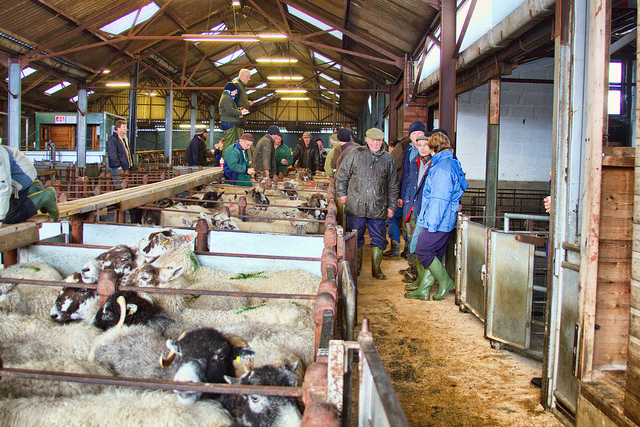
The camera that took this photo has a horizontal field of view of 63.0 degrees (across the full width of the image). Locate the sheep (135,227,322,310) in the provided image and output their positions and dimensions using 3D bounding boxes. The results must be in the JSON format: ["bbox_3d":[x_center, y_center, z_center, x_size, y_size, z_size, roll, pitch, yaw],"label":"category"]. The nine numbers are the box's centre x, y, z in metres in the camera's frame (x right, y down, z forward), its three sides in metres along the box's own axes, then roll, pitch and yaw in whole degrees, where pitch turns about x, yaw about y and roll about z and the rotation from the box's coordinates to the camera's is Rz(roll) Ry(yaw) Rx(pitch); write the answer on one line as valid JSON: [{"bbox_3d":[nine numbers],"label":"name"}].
[{"bbox_3d":[-0.980,0.589,6.204,2.081,1.431,0.848,4,-7,6],"label":"sheep"}]

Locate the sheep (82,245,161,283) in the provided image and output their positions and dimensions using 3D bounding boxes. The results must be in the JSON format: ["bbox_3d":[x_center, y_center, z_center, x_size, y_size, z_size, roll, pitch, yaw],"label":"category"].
[{"bbox_3d":[-2.006,0.533,5.393,0.865,0.402,0.518,-3,9,-41],"label":"sheep"}]

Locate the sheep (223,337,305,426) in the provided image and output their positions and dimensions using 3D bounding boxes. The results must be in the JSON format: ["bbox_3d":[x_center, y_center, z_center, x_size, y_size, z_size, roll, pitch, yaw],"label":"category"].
[{"bbox_3d":[-0.408,1.269,3.796,0.330,0.537,0.724,-3,0,-11],"label":"sheep"}]

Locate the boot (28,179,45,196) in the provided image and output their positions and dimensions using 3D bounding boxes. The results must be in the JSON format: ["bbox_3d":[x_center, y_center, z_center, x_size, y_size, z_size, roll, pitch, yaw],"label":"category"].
[{"bbox_3d":[-3.407,-0.301,6.240,0.134,0.134,0.073,35,-25,9],"label":"boot"}]

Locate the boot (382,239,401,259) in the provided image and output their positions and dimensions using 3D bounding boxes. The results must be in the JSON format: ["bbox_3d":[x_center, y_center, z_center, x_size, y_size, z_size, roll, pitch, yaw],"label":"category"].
[{"bbox_3d":[1.323,0.622,9.687,0.334,0.370,0.391,0,14,7],"label":"boot"}]

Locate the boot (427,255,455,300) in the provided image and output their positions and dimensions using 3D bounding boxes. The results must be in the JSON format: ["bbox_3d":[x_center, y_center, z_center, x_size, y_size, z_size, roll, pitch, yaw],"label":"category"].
[{"bbox_3d":[1.648,0.844,7.118,0.381,0.682,0.281,-2,13,0],"label":"boot"}]

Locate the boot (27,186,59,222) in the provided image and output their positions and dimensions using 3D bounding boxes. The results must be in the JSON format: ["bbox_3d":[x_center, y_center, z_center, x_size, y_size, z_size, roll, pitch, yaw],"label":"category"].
[{"bbox_3d":[-3.251,-0.100,6.214,0.358,0.155,0.383,11,43,-37],"label":"boot"}]

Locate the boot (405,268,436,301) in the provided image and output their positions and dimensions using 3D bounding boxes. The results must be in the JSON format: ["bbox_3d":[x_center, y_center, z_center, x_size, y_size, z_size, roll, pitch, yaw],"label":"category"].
[{"bbox_3d":[1.370,0.959,7.272,0.436,0.491,0.189,6,17,19],"label":"boot"}]

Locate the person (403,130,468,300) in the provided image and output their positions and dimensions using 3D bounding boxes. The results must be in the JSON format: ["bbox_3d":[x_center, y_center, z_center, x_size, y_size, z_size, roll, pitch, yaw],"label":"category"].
[{"bbox_3d":[1.555,0.099,7.035,0.731,2.369,0.762,1,13,12],"label":"person"}]

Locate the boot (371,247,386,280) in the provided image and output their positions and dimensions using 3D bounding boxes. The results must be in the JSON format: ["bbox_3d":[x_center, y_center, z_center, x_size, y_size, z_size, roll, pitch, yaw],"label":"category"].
[{"bbox_3d":[0.921,0.754,8.189,0.205,0.526,0.317,0,14,7],"label":"boot"}]

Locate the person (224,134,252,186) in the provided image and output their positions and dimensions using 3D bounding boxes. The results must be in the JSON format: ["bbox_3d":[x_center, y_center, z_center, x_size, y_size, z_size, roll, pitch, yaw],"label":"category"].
[{"bbox_3d":[-1.699,-1.069,10.678,0.354,1.157,0.464,2,42,-2],"label":"person"}]
